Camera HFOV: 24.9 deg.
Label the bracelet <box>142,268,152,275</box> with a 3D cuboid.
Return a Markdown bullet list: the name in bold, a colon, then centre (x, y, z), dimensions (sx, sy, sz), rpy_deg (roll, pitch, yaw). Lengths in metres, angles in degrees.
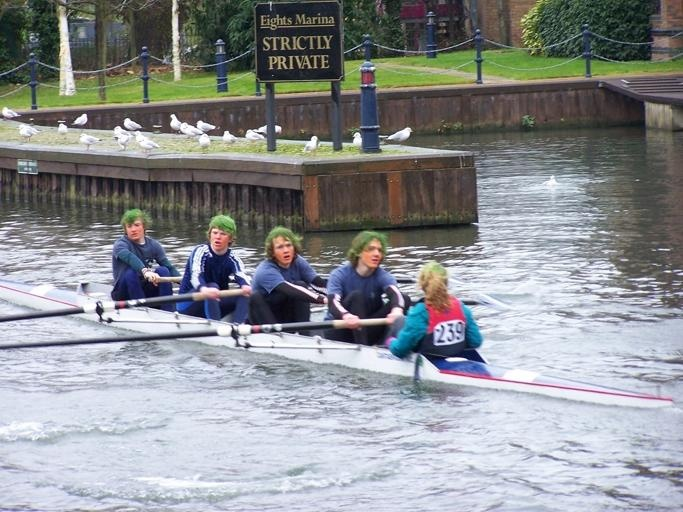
- **bracelet**: centre (-2.968, 0.208, 23.428), dimensions (0.101, 0.071, 0.099), rpy_deg (0, 6, -4)

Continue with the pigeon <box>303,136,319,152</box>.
- **pigeon**: centre (-0.514, -2.235, 30.328), dimensions (0.165, 0.214, 0.501), rpy_deg (8, 27, 32)

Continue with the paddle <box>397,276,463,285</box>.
- **paddle**: centre (1.271, 0.338, 22.741), dimensions (0.756, 0.113, 0.084), rpy_deg (3, -5, -8)

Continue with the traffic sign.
- **traffic sign**: centre (-0.769, -4.170, 29.811), dimensions (1.670, 1.307, 0.172), rpy_deg (0, 13, 8)

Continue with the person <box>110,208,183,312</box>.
- **person**: centre (-2.963, 0.170, 23.691), dimensions (1.383, 1.707, 1.168), rpy_deg (4, 6, 24)

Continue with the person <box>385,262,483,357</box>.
- **person**: centre (1.235, 0.775, 21.703), dimensions (1.423, 1.310, 1.003), rpy_deg (-7, 3, -24)
